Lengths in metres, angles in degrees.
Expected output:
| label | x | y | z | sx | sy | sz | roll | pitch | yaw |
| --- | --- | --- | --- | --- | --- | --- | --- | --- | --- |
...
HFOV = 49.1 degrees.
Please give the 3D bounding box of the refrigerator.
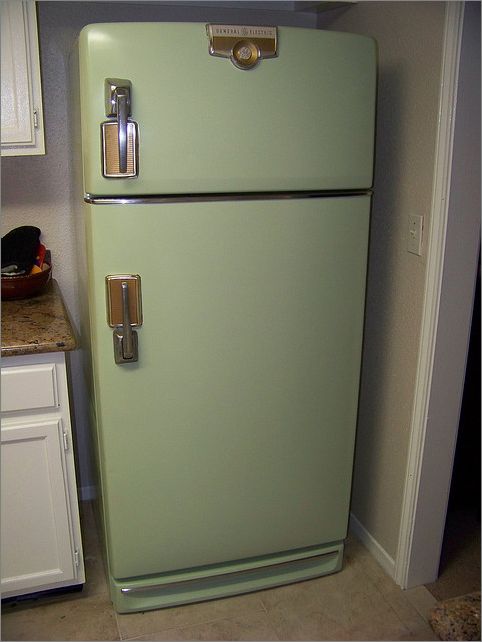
| label | x | y | z | sx | sy | sz | roll | pitch | yaw |
| --- | --- | --- | --- | --- | --- | --- | --- | --- | --- |
| refrigerator | 0.008 | 0.029 | 1.418 | 0.792 | 1.483 | 0.273 | -5 | 13 | -26 |
